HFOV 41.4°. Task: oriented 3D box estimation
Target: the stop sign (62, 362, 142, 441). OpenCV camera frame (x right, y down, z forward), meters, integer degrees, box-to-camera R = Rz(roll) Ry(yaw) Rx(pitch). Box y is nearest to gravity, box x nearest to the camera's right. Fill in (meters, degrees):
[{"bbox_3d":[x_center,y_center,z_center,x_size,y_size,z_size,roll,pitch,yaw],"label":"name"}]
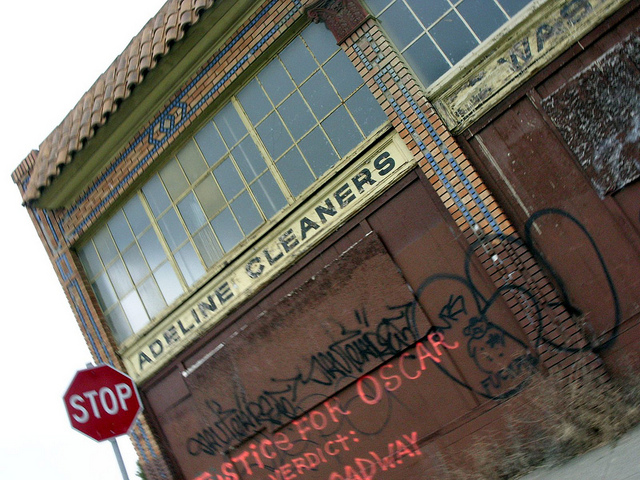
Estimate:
[{"bbox_3d":[-3.616,2.759,14.201,1.483,1.313,0.373,9,-44,-46],"label":"stop sign"}]
